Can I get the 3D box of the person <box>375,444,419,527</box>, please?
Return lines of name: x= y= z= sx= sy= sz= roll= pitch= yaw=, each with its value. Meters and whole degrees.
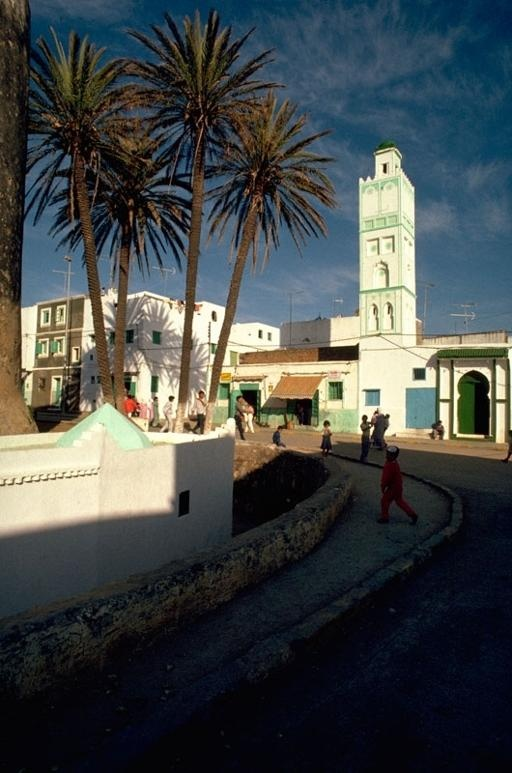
person: x=2.222 y=1.467 z=8.586 sx=0.547 sy=1.155 sz=1.475 roll=1 pitch=-1 yaw=14

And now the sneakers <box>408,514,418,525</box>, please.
sneakers: x=2.315 y=1.916 z=8.034 sx=0.109 sy=0.168 sz=0.364 roll=1 pitch=-1 yaw=17

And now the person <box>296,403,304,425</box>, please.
person: x=2.542 y=1.538 z=31.919 sx=0.314 sy=1.215 sz=0.605 roll=1 pitch=-1 yaw=-30

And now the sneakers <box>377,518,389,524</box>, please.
sneakers: x=1.882 y=1.980 z=8.120 sx=0.155 sy=0.120 sz=0.077 roll=3 pitch=-5 yaw=16
